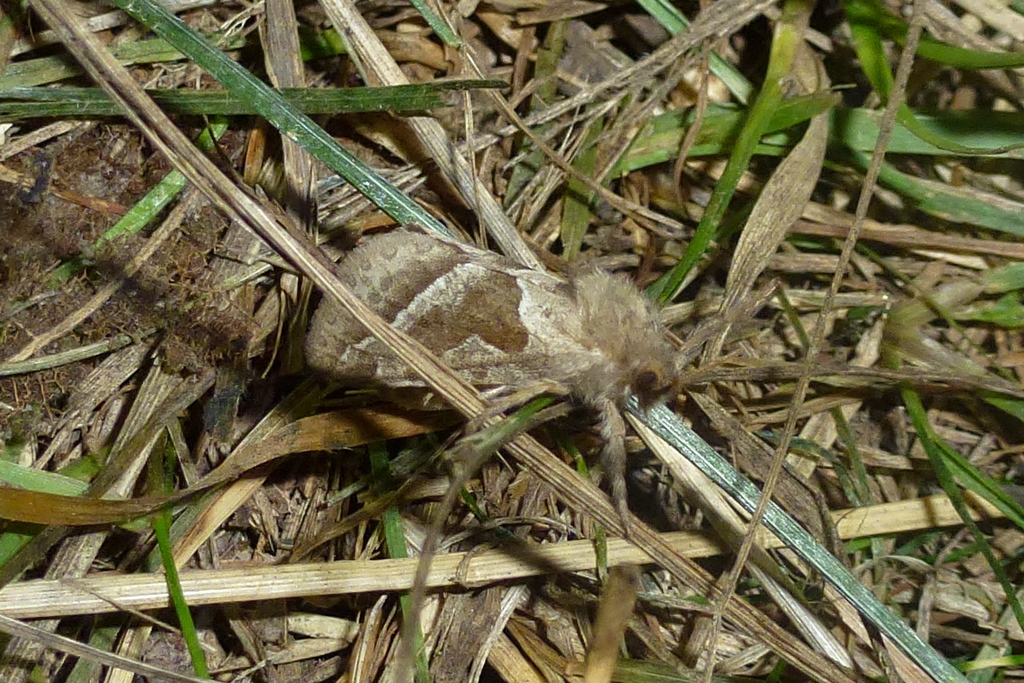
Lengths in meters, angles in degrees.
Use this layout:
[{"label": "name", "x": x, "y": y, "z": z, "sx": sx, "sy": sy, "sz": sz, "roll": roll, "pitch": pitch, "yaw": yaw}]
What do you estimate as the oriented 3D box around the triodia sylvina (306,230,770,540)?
[{"label": "triodia sylvina", "x": 0.056, "y": -0.015, "z": 2.910, "sx": 1.322, "sy": 0.414, "sz": 0.898, "roll": 14, "pitch": 46, "yaw": 5}]
